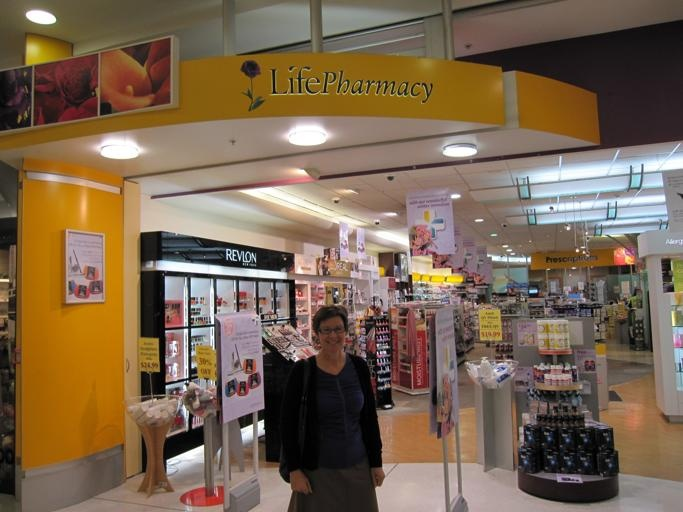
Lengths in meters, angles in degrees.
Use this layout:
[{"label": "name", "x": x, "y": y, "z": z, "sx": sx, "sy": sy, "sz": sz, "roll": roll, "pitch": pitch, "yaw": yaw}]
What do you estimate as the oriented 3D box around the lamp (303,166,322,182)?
[{"label": "lamp", "x": -0.460, "y": -1.270, "z": 7.872, "sx": 0.230, "sy": 0.126, "sz": 0.399, "roll": -5, "pitch": -7, "yaw": 0}]
